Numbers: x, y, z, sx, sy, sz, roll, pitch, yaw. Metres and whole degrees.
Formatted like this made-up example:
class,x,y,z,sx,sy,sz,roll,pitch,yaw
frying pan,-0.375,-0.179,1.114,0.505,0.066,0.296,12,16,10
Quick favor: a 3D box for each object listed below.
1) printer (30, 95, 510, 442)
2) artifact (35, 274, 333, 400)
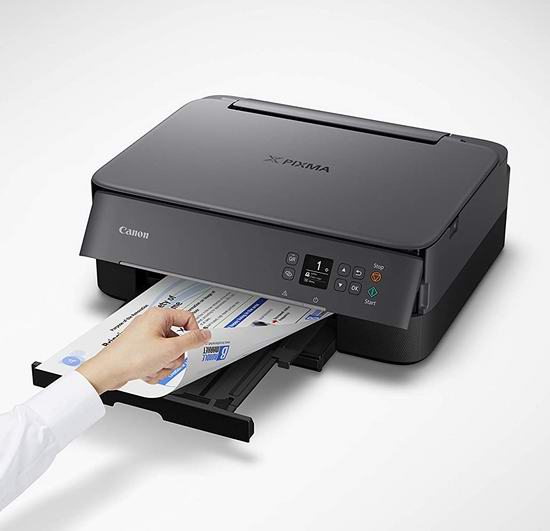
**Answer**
class,x,y,z,sx,sy,sz,roll,pitch,yaw
printer,0.019,-0.073,0.974,0.618,0.197,0.720,13,34,23
artifact,-0.123,0.100,0.843,0.338,0.097,0.303,6,20,23
